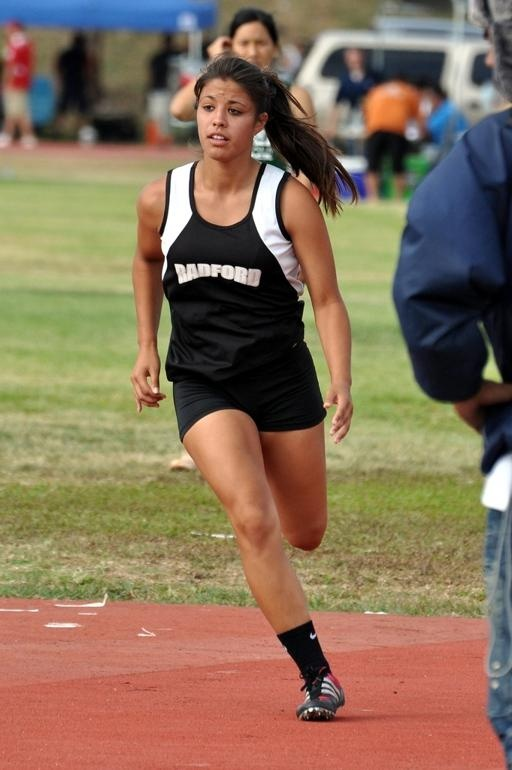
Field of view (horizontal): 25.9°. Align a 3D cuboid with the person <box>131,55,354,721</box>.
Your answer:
[{"bbox_3d":[-0.034,-0.016,3.118,0.645,1.788,0.859,1,12,-6],"label":"person"}]

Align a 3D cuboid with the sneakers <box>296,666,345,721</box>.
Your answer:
[{"bbox_3d":[0.184,0.815,2.900,0.087,0.091,0.205,-12,-9,11],"label":"sneakers"}]
